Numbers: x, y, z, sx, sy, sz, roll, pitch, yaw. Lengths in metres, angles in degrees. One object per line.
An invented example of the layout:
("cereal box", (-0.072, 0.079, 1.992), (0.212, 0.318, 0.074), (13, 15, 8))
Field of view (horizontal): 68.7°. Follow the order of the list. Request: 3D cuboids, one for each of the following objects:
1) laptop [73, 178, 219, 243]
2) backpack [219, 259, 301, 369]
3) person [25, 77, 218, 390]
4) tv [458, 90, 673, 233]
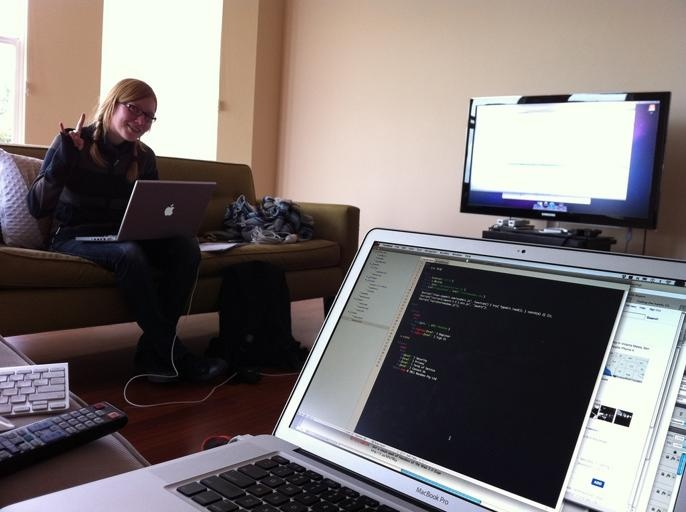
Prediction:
("laptop", (-0.831, -0.200, 2.157), (0.462, 0.249, 0.426), (-5, 11, -43))
("backpack", (-0.392, 0.268, 2.285), (0.431, 0.454, 0.205), (2, -20, -21))
("person", (-0.959, -0.110, 2.232), (0.821, 1.316, 0.671), (-3, -1, 11))
("tv", (1.460, -0.608, 3.195), (0.935, 0.650, 0.102), (9, 8, 33))
